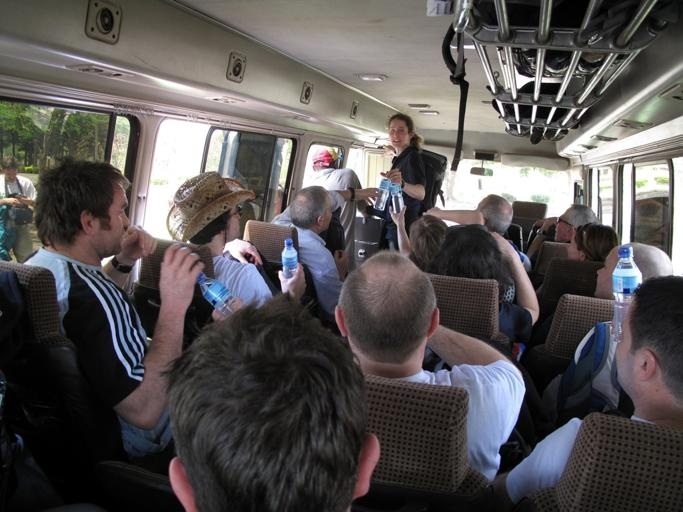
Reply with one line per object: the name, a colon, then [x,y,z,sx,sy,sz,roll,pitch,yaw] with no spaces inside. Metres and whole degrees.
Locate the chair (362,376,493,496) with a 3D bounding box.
chair: [0.310,0.539,1.551,0.413,0.392,0.349,1,-3,21]

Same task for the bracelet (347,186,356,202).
bracelet: [0.145,-0.885,6.163,0.170,0.174,0.170,-1,1,-2]

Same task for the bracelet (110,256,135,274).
bracelet: [-1.499,0.050,3.016,0.110,0.066,0.149,11,-3,-30]

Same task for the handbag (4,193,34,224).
handbag: [-2.511,-0.364,3.455,0.140,0.199,0.202,3,14,-5]

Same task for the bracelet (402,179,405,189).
bracelet: [0.726,-0.860,5.204,0.066,0.094,0.034,0,-3,-10]
